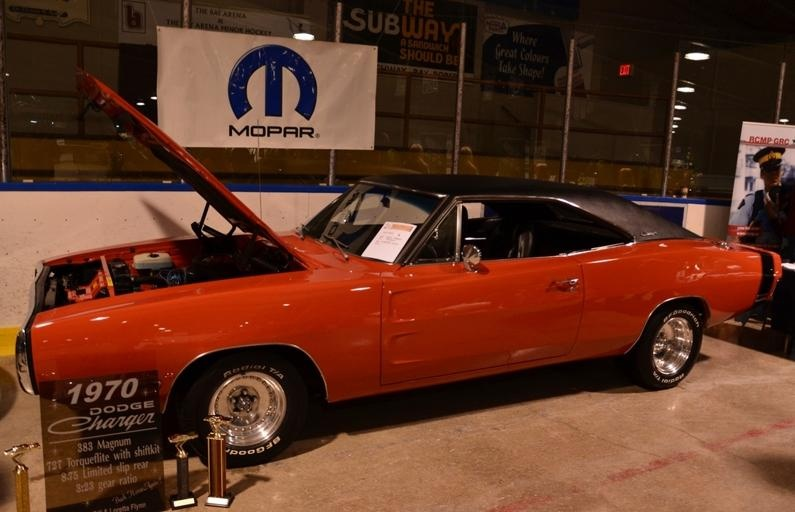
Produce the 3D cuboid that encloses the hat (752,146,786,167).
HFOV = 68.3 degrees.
[{"bbox_3d":[5.830,-1.559,9.133,0.350,0.196,0.348,-1,-4,30],"label":"hat"}]

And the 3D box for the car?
[{"bbox_3d":[0.423,0.164,6.806,7.670,3.260,3.148,1,6,-19],"label":"car"}]

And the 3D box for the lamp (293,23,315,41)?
[{"bbox_3d":[-1.230,-2.901,7.622,0.280,0.209,0.101,3,-8,-6],"label":"lamp"}]

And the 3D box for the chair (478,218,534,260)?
[{"bbox_3d":[1.157,-0.171,6.036,0.392,0.459,0.572,0,3,39],"label":"chair"}]

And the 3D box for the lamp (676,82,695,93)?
[{"bbox_3d":[4.629,-2.674,9.351,0.271,0.133,0.061,0,6,-14],"label":"lamp"}]
